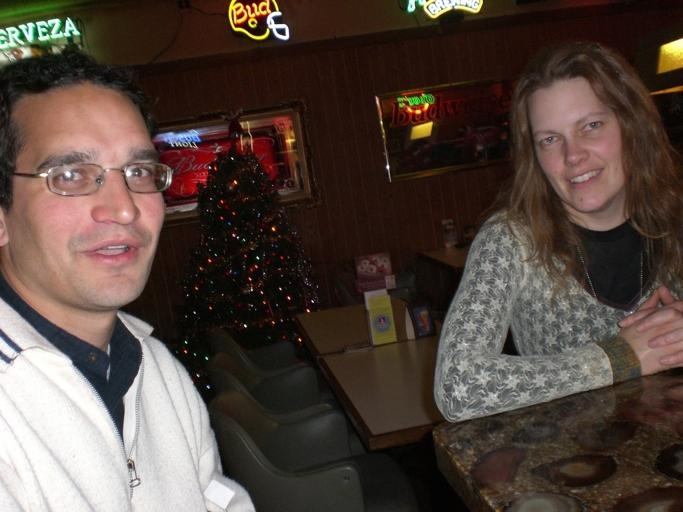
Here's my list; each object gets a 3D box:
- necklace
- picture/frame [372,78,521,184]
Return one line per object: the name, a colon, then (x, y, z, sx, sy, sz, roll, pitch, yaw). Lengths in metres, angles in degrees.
necklace: (0.868, 0.028, 1.856, 0.201, 0.277, 0.165, -2, 17, 19)
picture/frame: (0.916, -1.246, 5.463, 1.617, 0.964, 0.066, -10, 24, -8)
